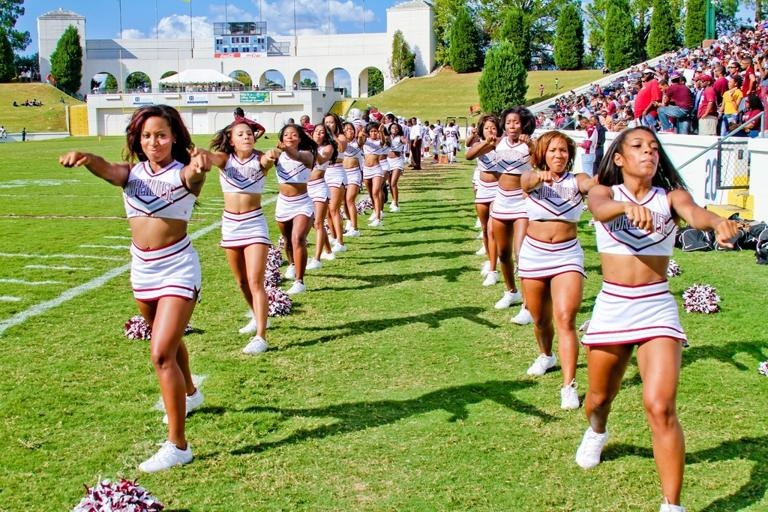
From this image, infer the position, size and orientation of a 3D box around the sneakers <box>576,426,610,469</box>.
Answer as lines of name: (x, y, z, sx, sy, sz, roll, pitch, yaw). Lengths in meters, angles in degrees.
sneakers: (1.562, 1.436, 5.072, 0.171, 0.350, 0.152, 25, 14, 19)

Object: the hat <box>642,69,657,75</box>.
hat: (6.108, -4.184, 15.298, 0.369, 0.132, 0.241, -5, 15, 0)

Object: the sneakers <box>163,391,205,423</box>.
sneakers: (-1.712, 1.286, 5.761, 0.152, 0.175, 0.416, 0, 4, 10)

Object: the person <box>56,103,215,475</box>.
person: (-1.706, 0.200, 5.185, 0.843, 2.703, 0.876, -2, 10, 4)

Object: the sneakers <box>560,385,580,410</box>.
sneakers: (1.623, 1.229, 5.793, 0.108, 0.116, 0.272, -3, 5, 11)

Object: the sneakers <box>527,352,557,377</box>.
sneakers: (1.549, 1.021, 6.582, 0.373, 0.165, 0.140, -26, 22, -19)

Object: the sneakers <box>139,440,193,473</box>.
sneakers: (-1.633, 1.498, 5.056, 0.459, 0.201, 0.151, 0, 6, -24)

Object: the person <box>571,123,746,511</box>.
person: (1.772, 0.393, 4.578, 0.718, 2.516, 1.049, -4, 10, -6)

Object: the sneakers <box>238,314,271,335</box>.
sneakers: (-1.437, 0.780, 7.785, 0.514, 0.222, 0.168, -5, 1, -29)

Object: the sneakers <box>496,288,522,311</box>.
sneakers: (1.558, 0.549, 8.549, 0.421, 0.178, 0.156, -25, 17, -19)
